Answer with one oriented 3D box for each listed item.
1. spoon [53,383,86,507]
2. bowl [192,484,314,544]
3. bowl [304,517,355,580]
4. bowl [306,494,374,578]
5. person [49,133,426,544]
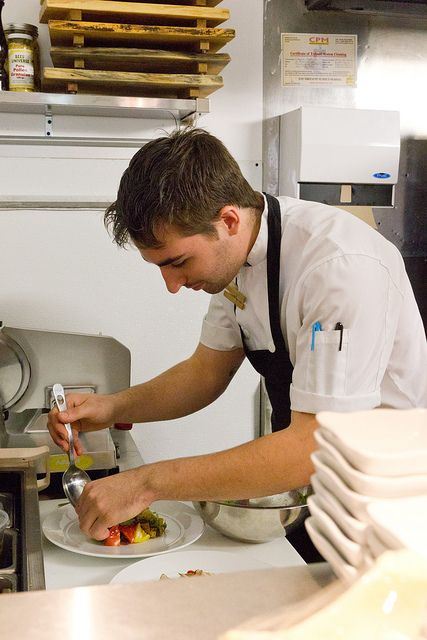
[{"bbox_3d":[-0.305,0.294,1.270,0.059,0.038,0.292,-12,33,-11],"label":"spoon"},{"bbox_3d":[0.072,0.341,1.023,0.215,0.106,0.154,-2,10,2],"label":"bowl"},{"bbox_3d":[0.074,0.149,0.376,0.014,0.034,0.026,-26,-1,0],"label":"bowl"},{"bbox_3d":[0.076,0.133,0.356,0.027,0.014,0.033,-4,36,-35],"label":"bowl"},{"bbox_3d":[0.001,-0.006,1.184,0.678,0.700,0.661,-9,12,-32],"label":"person"}]
